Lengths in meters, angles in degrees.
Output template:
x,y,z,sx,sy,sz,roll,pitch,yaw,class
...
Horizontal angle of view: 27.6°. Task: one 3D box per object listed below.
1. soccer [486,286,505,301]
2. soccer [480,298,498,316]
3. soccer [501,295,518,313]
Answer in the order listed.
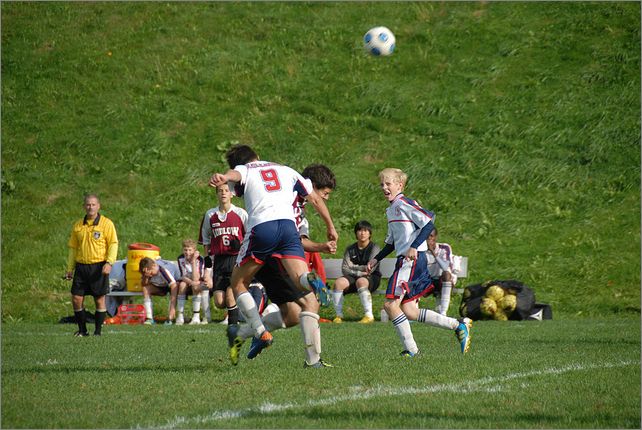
x,y,z,sx,sy,sz,roll,pitch,yaw,class
6.551,2.914,48.896,0.535,0.640,0.537,5,-28,3,soccer
6.246,3.467,49.087,0.590,0.710,0.585,-13,3,-43,soccer
7.011,3.270,49.037,0.617,0.725,0.599,-4,12,-2,soccer
